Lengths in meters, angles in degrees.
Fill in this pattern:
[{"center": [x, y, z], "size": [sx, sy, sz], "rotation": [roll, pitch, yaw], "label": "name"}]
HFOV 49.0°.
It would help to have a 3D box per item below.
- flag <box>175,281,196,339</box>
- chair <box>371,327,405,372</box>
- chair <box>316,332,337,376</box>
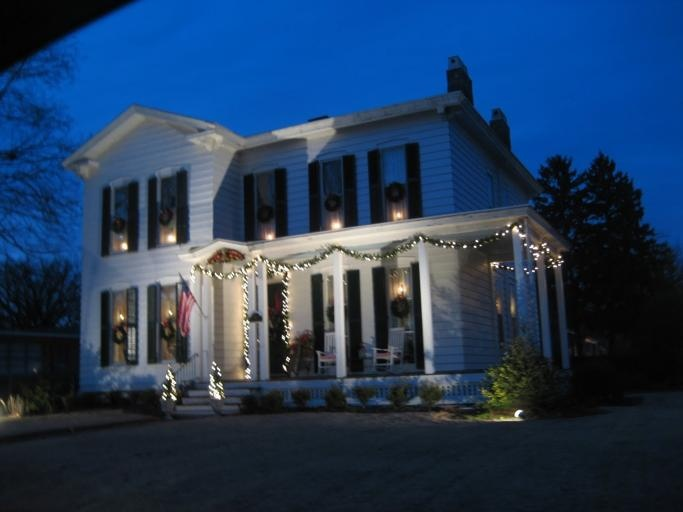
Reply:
[{"center": [-4.296, 1.367, 20.661], "size": [0.502, 1.679, 1.473], "rotation": [-1, -10, -13], "label": "flag"}, {"center": [1.091, 2.559, 20.173], "size": [0.652, 0.945, 0.660], "rotation": [-8, -5, 38], "label": "chair"}, {"center": [-0.347, 2.696, 20.917], "size": [0.695, 1.077, 0.759], "rotation": [2, 5, 38], "label": "chair"}]
